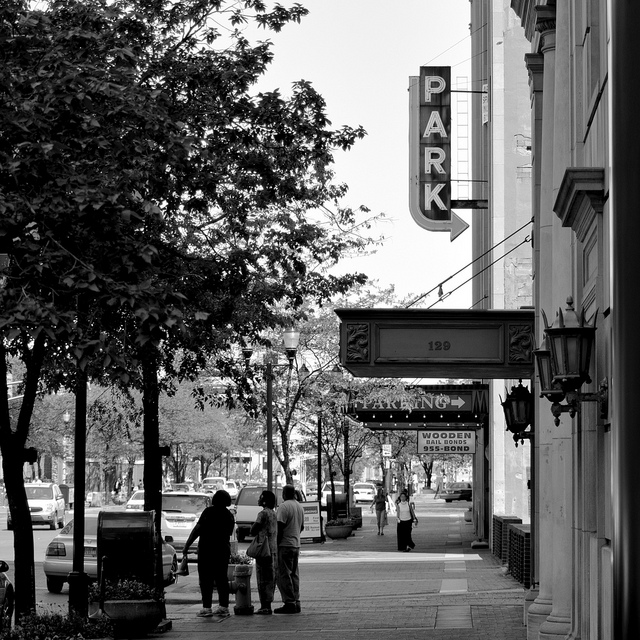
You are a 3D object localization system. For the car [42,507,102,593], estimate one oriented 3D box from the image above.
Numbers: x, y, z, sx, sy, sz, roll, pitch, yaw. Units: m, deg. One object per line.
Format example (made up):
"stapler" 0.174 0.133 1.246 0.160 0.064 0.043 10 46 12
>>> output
"car" -3.864 4.175 26.389 1.391 1.368 3.577 4 -9 1

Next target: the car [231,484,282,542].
"car" -1.977 5.538 41.091 1.651 1.628 3.420 -1 -2 5

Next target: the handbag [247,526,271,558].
"handbag" -0.820 2.963 20.050 0.307 0.409 0.268 -2 -7 -3

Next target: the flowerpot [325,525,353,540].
"flowerpot" 0.530 5.956 42.131 0.898 0.391 0.705 2 -9 -25

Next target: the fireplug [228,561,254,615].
"fireplug" -1.036 3.632 20.277 0.262 0.657 0.716 -2 -8 -3
